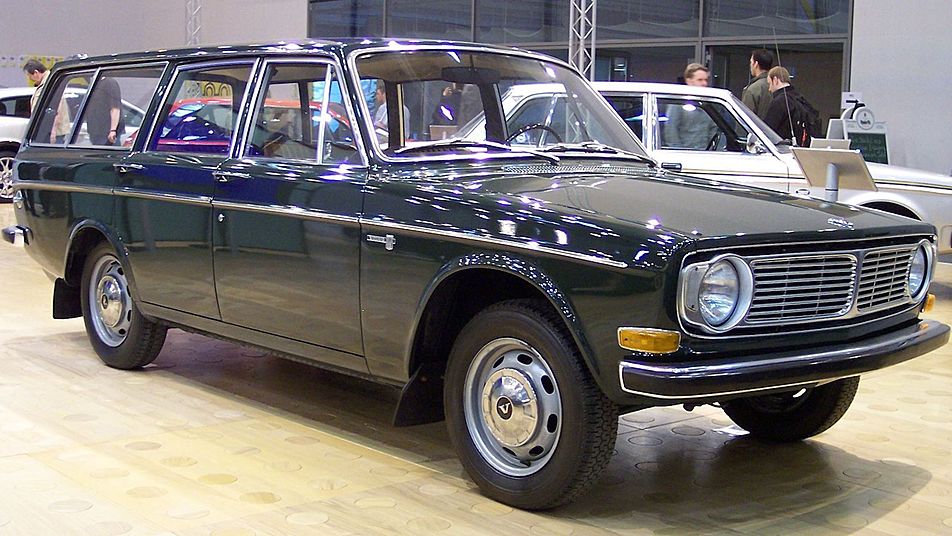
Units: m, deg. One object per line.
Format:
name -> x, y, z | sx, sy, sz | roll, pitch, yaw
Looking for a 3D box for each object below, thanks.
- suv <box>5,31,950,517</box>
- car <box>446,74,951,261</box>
suv -> -0.998, -0.323, 5.284 | 7.155, 2.266, 3.409 | 5, 8, 40
car -> 3.171, -1.226, 8.025 | 6.369, 1.700, 2.606 | 1, 8, 4
